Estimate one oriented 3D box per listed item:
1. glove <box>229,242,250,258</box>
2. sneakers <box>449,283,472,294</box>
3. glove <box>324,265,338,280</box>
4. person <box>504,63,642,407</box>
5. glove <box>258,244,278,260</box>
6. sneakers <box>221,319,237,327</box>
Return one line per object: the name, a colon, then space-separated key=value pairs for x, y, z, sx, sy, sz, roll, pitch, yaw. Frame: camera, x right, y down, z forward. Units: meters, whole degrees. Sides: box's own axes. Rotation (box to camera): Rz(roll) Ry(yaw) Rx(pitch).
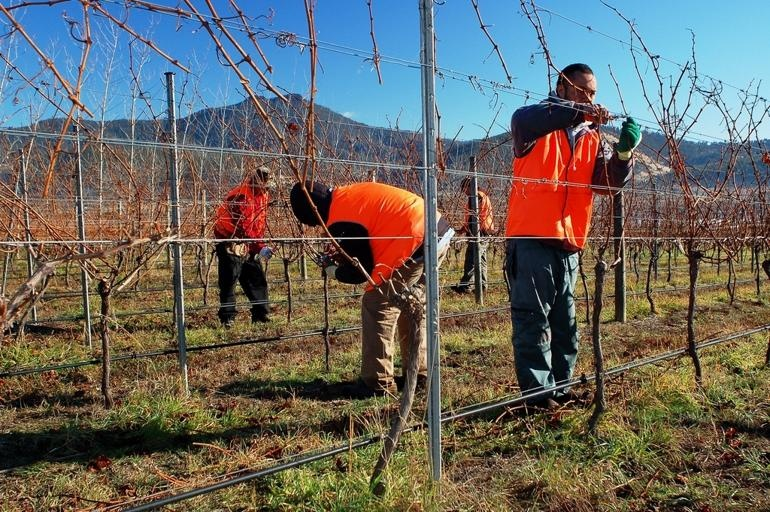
glove: x=-1.943 y=-0.086 z=8.758 sx=0.224 sy=0.117 sz=0.298 roll=9 pitch=-11 yaw=-37
sneakers: x=1.256 y=0.534 z=10.946 sx=0.249 sy=0.111 sz=0.289 roll=4 pitch=3 yaw=-10
glove: x=-0.543 y=0.162 z=6.676 sx=0.126 sy=0.146 sz=0.033 roll=7 pitch=4 yaw=33
person: x=1.567 y=-0.173 z=5.937 sx=1.032 sy=2.721 sz=0.805 roll=-1 pitch=-1 yaw=-25
glove: x=-1.522 y=-0.048 z=8.595 sx=0.207 sy=0.216 sz=0.269 roll=-22 pitch=-3 yaw=-20
sneakers: x=-2.075 y=0.879 z=8.676 sx=0.113 sy=0.090 sz=0.112 roll=0 pitch=-5 yaw=-1
